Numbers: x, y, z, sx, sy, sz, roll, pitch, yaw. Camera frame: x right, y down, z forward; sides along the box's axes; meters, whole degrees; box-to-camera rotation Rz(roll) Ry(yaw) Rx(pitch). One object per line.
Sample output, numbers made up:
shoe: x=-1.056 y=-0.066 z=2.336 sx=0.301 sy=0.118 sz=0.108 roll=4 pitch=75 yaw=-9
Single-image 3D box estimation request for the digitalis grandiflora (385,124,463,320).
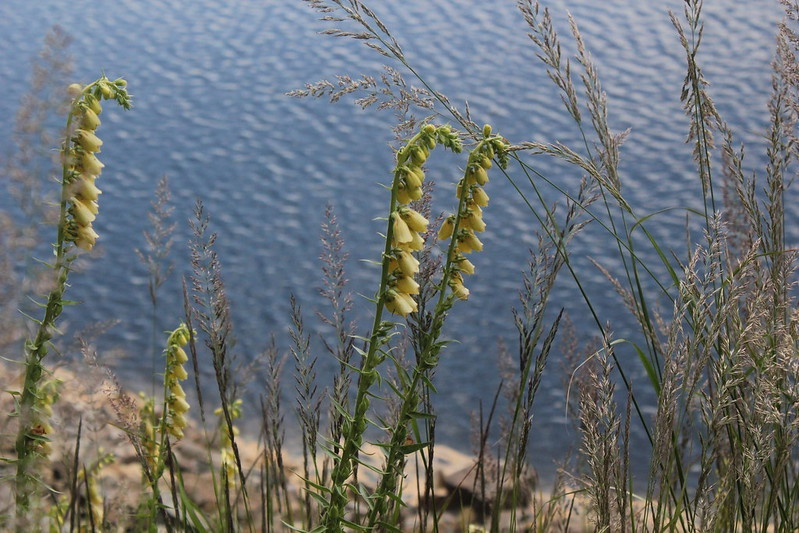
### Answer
digitalis grandiflora: x=0.185 y=-0.481 z=14.781 sx=0.715 sy=2.144 sz=0.886 roll=5 pitch=22 yaw=0
